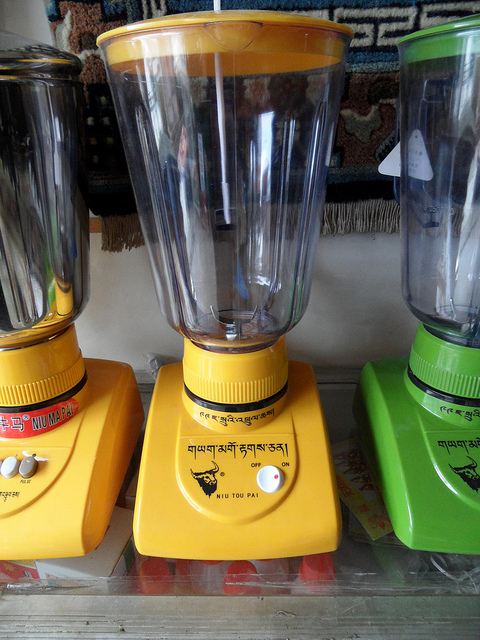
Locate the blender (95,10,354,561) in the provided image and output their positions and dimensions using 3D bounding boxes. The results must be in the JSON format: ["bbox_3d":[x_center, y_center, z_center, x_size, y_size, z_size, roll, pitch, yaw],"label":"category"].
[{"bbox_3d":[-0.020,-0.043,0.559,0.239,0.529,0.351,-2,5,6],"label":"blender"}]
